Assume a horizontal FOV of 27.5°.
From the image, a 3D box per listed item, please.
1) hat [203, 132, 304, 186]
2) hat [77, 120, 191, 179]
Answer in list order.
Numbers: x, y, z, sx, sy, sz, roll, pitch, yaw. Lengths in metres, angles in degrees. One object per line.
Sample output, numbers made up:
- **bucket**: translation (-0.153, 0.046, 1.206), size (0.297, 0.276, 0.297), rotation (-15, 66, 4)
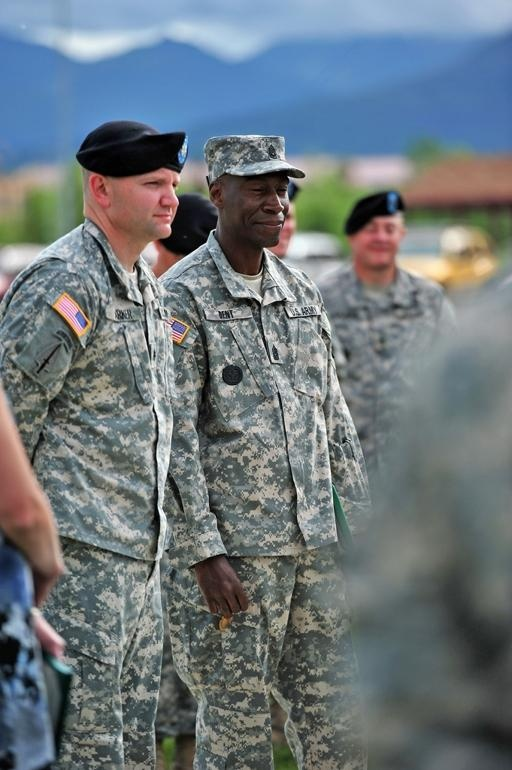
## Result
- **hat**: translation (-0.035, -0.657, 3.100), size (0.312, 0.120, 0.217), rotation (1, 3, 35)
- **hat**: translation (-0.334, -0.615, 2.756), size (0.235, 0.073, 0.190), rotation (-8, 12, -22)
